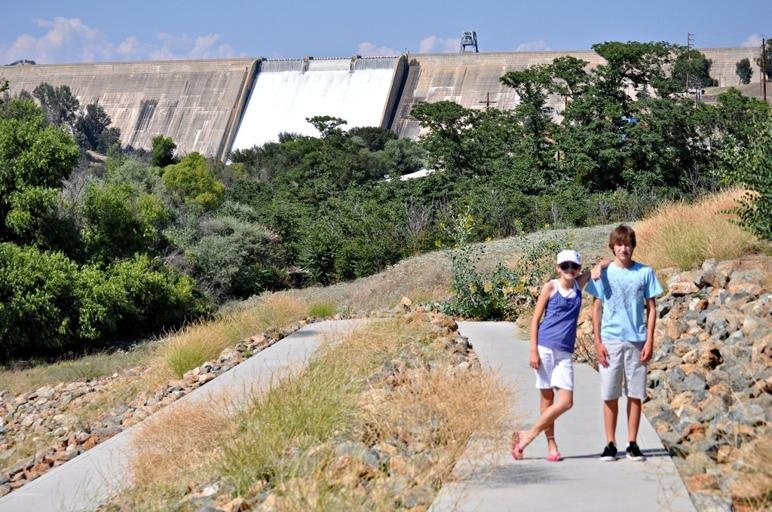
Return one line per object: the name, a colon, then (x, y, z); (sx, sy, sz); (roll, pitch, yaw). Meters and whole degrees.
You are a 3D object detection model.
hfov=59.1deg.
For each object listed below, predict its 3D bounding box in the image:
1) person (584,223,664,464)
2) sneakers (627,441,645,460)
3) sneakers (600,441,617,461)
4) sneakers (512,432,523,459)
person: (2.738, 0.985, 7.934); (0.816, 2.657, 0.717); (1, 10, 16)
sneakers: (2.895, 2.242, 7.868); (0.196, 0.192, 0.159); (-1, 10, 6)
sneakers: (2.587, 2.251, 7.900); (0.185, 0.198, 0.170); (2, 10, 18)
sneakers: (1.521, 2.195, 7.937); (0.096, 0.307, 0.157); (3, 0, 2)
